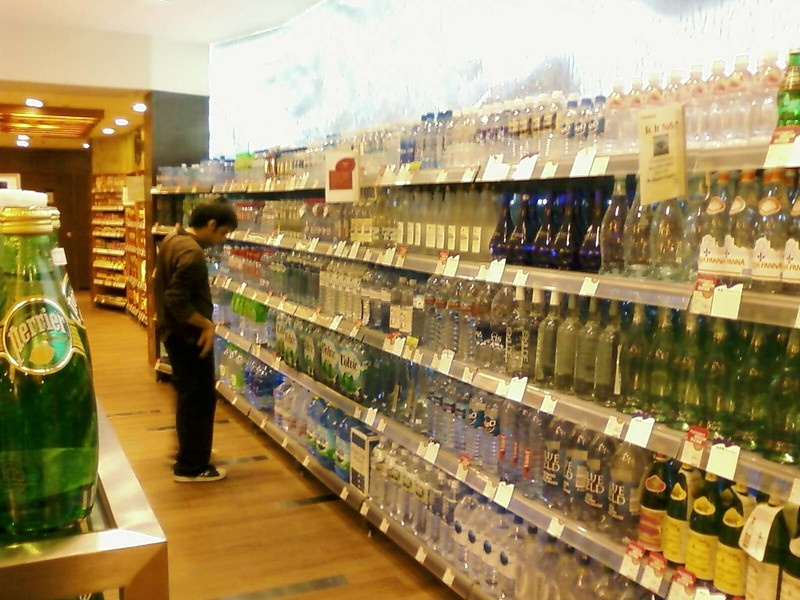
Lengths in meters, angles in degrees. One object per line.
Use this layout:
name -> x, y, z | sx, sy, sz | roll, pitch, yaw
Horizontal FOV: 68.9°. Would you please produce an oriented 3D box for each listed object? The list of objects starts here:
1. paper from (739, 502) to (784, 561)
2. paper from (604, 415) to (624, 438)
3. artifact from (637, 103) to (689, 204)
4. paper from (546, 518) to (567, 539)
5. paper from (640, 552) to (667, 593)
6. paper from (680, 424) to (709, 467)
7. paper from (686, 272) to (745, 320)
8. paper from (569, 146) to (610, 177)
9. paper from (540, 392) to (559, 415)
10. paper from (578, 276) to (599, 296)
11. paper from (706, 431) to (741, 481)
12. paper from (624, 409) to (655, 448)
paper -> 1.179, 0.775, 1.931 | 0.099, 0.200, 0.187 | 7, 9, 41
paper -> 0.823, 0.487, 2.251 | 0.016, 0.073, 0.070 | 21, -1, -33
artifact -> 0.911, -0.506, 2.030 | 0.163, 0.333, 0.108 | 4, 7, 19
paper -> 0.673, 0.984, 2.538 | 0.091, 0.103, 0.073 | -5, -32, 18
paper -> 0.958, 1.019, 2.209 | 0.084, 0.102, 0.112 | 6, 8, 31
paper -> 1.001, 0.495, 1.994 | 0.032, 0.148, 0.082 | 22, -8, -33
paper -> 1.047, -0.020, 1.936 | 0.053, 0.186, 0.150 | 6, -3, -40
paper -> 0.749, -0.543, 2.309 | 0.030, 0.132, 0.121 | 27, -12, -38
paper -> 0.646, 0.444, 2.525 | 0.017, 0.079, 0.076 | 23, -4, -32
paper -> 0.762, -0.061, 2.355 | 0.031, 0.068, 0.094 | -1, 8, -22
paper -> 1.063, 0.518, 1.924 | 0.093, 0.096, 0.087 | 7, 9, 39
paper -> 0.897, 0.475, 2.192 | 0.100, 0.115, 0.188 | 8, 17, 25
